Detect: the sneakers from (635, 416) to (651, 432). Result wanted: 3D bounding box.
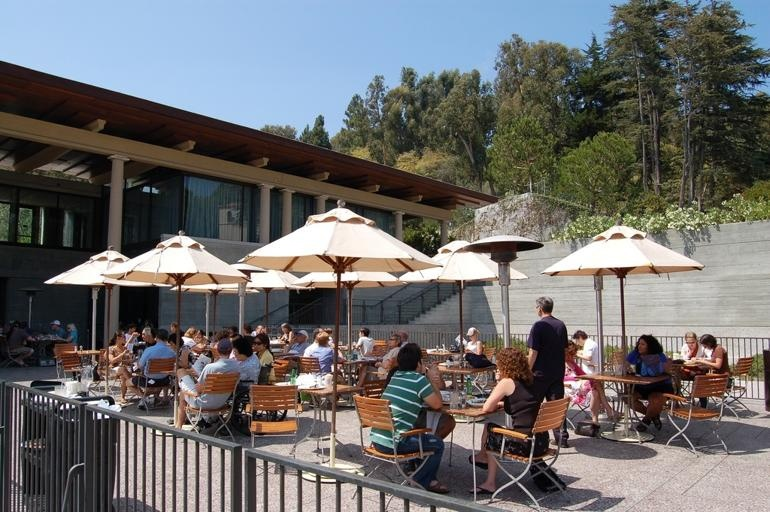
[{"bbox_3d":[6.609,4.220,19.135,0.247,0.675,0.252,-7,15,32],"label":"sneakers"}]

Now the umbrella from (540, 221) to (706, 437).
[{"bbox_3d":[6.387,1.246,20.285,4.122,3.993,3.842,-4,2,-19],"label":"umbrella"}]

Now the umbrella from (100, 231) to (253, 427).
[{"bbox_3d":[-6.212,1.882,21.438,4.574,5.597,4.764,-2,-7,31],"label":"umbrella"}]

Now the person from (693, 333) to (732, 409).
[{"bbox_3d":[9.360,3.129,21.174,0.969,1.690,0.807,-9,2,38],"label":"person"}]

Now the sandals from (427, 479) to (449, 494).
[{"bbox_3d":[1.143,5.003,16.265,0.438,0.140,0.231,-1,-4,33],"label":"sandals"}]

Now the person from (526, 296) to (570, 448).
[{"bbox_3d":[3.804,2.729,17.907,1.236,3.352,1.138,2,-2,-20],"label":"person"}]

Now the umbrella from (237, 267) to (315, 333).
[{"bbox_3d":[-3.669,1.290,25.454,2.546,1.765,2.561,4,-4,-11],"label":"umbrella"}]

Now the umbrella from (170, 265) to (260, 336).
[{"bbox_3d":[-5.319,1.227,25.681,3.513,2.514,3.809,4,-5,-26],"label":"umbrella"}]

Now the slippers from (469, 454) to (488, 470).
[{"bbox_3d":[2.086,4.689,17.060,0.222,0.235,0.655,1,-5,-9],"label":"slippers"}]

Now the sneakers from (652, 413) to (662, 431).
[{"bbox_3d":[7.036,4.317,19.327,0.187,0.548,0.227,-6,-9,29],"label":"sneakers"}]

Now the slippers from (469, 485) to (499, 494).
[{"bbox_3d":[2.137,5.066,16.245,0.490,0.110,0.205,3,-7,-8],"label":"slippers"}]
